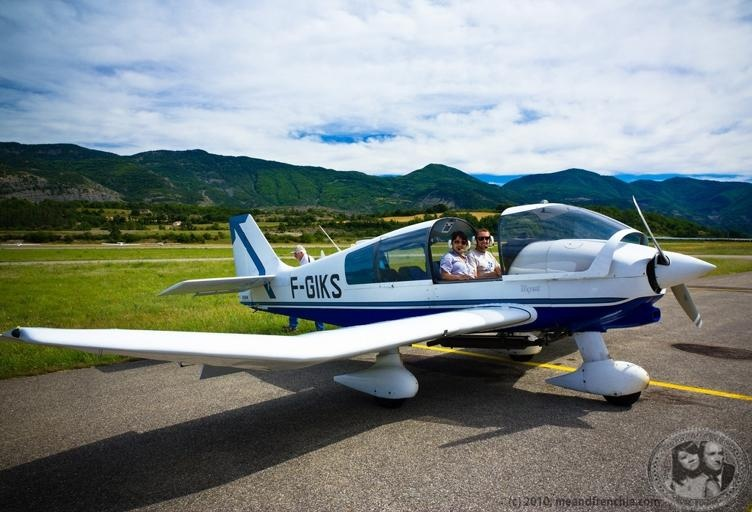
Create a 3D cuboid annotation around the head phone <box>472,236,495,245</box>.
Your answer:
[{"bbox_3d":[1.720,-0.258,7.795,0.282,0.077,0.290,-1,-1,-2],"label":"head phone"}]

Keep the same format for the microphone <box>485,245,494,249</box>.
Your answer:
[{"bbox_3d":[1.843,-0.149,7.882,0.065,0.035,0.134,0,-2,-18],"label":"microphone"}]

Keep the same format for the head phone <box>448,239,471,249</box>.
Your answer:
[{"bbox_3d":[1.267,-0.190,7.568,0.267,0.075,0.274,1,1,-1],"label":"head phone"}]
